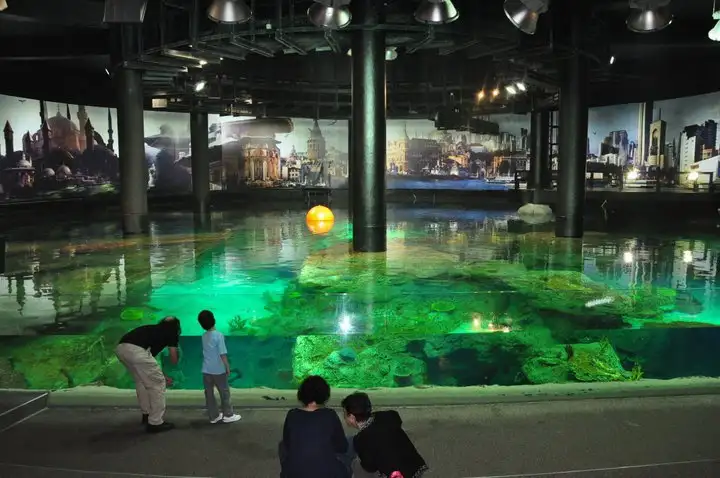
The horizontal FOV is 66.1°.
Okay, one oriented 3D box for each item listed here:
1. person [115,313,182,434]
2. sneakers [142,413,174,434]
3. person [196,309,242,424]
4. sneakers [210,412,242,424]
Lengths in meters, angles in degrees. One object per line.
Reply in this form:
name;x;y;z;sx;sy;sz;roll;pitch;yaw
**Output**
person;-3.495;2.247;9.195;1.005;1.746;0.622;-3;6;-19
sneakers;-3.293;3.073;9.189;0.631;0.257;0.211;-1;5;-18
person;-2.419;2.092;9.463;0.563;1.949;0.879;-3;6;-16
sneakers;-2.253;3.025;9.286;0.492;0.192;0.178;-2;1;-16
